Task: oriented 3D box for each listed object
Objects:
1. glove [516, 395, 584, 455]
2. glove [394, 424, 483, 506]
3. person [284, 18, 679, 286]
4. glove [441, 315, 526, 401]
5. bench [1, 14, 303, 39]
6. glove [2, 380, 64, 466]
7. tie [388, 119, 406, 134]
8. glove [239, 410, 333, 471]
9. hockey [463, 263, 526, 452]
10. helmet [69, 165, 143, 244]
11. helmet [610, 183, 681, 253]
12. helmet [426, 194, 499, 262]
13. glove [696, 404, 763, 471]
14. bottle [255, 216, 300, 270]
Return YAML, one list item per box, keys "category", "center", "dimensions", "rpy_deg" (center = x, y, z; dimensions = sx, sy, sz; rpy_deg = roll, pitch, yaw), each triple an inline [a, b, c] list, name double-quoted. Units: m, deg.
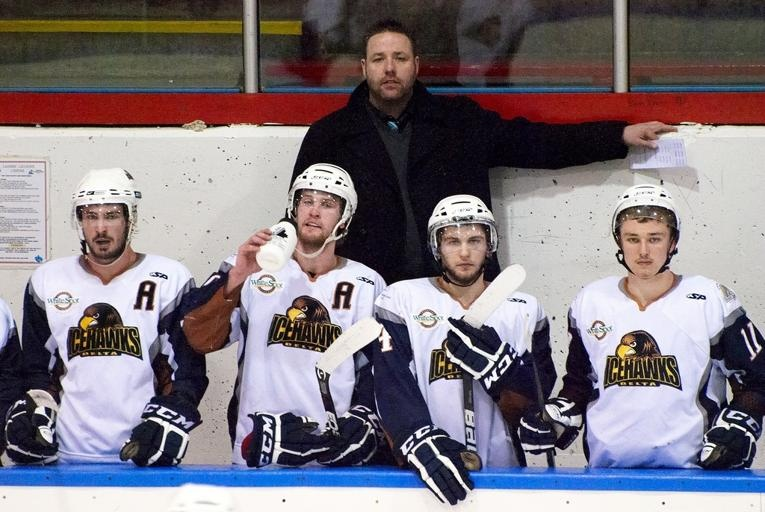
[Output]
- category: "glove"
  center: [0.861, 0.882, 5.695]
  dimensions: [0.345, 0.248, 0.154]
  rpy_deg: [-11, 3, -18]
- category: "glove"
  center: [0.269, 0.995, 5.324]
  dimensions: [0.274, 0.354, 0.160]
  rpy_deg: [-36, -36, -2]
- category: "person"
  center: [0.636, -0.557, 6.373]
  dimensions: [1.596, 1.390, 0.333]
  rpy_deg: [-2, -9, -9]
- category: "glove"
  center: [0.571, 0.535, 5.710]
  dimensions: [0.171, 0.547, 0.318]
  rpy_deg: [-40, 7, 34]
- category: "bench"
  center: [-1.338, -1.404, 6.737]
  dimensions: [1.780, 0.129, 0.070]
  rpy_deg: [1, -31, 0]
- category: "glove"
  center: [-1.850, 0.896, 5.746]
  dimensions: [0.267, 0.379, 0.265]
  rpy_deg: [1, -3, -18]
- category: "tie"
  center: [0.072, -0.745, 6.363]
  dimensions: [0.080, 0.077, 0.028]
  rpy_deg: [-2, 4, 2]
- category: "glove"
  center: [-0.456, 0.944, 5.644]
  dimensions: [0.521, 0.212, 0.327]
  rpy_deg: [3, 30, -6]
- category: "hockey"
  center: [0.567, 0.537, 5.676]
  dimensions: [0.303, 0.959, 0.392]
  rpy_deg: [0, -3, 1]
- category: "helmet"
  center: [-1.530, -0.277, 6.101]
  dimensions: [0.349, 0.377, 0.398]
  rpy_deg: [-3, 8, -3]
- category: "helmet"
  center: [1.398, -0.226, 5.815]
  dimensions: [0.274, 0.336, 0.313]
  rpy_deg: [1, 29, 12]
- category: "helmet"
  center: [0.419, -0.125, 5.987]
  dimensions: [0.400, 0.423, 0.456]
  rpy_deg: [-4, -4, -11]
- category: "glove"
  center: [1.759, 0.917, 5.505]
  dimensions: [0.245, 0.311, 0.131]
  rpy_deg: [23, -3, 8]
- category: "bottle"
  center: [-0.549, -0.056, 5.763]
  dimensions: [0.148, 0.282, 0.236]
  rpy_deg: [-3, -4, 40]
